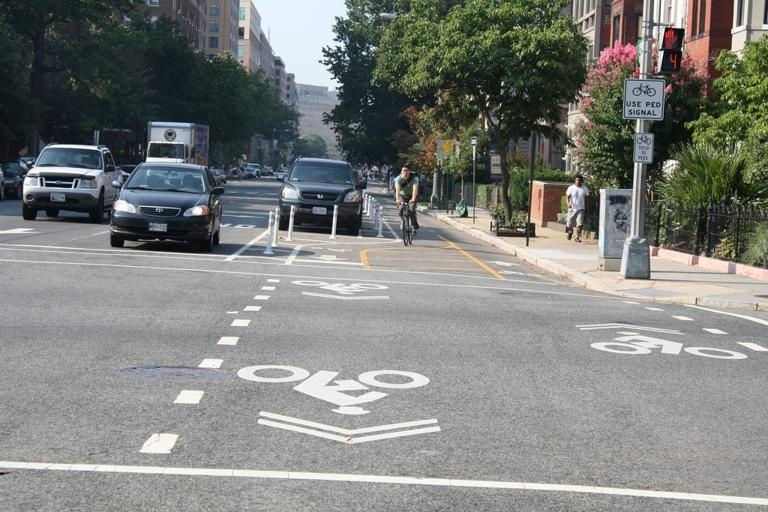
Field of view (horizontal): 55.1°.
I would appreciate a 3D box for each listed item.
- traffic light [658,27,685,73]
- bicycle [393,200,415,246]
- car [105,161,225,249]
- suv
[{"bbox_3d":[6.729,-4.898,17.207,0.467,1.287,1.810,6,7,20],"label":"traffic light"},{"bbox_3d":[0.771,-1.075,24.330,0.532,1.438,0.894,4,6,2],"label":"bicycle"},{"bbox_3d":[-5.486,-1.273,18.964,2.527,2.204,2.659,6,7,18],"label":"car"},{"bbox_3d":[-2.243,-2.406,27.865,2.056,1.983,3.787,1,-3,-3],"label":"suv"}]
